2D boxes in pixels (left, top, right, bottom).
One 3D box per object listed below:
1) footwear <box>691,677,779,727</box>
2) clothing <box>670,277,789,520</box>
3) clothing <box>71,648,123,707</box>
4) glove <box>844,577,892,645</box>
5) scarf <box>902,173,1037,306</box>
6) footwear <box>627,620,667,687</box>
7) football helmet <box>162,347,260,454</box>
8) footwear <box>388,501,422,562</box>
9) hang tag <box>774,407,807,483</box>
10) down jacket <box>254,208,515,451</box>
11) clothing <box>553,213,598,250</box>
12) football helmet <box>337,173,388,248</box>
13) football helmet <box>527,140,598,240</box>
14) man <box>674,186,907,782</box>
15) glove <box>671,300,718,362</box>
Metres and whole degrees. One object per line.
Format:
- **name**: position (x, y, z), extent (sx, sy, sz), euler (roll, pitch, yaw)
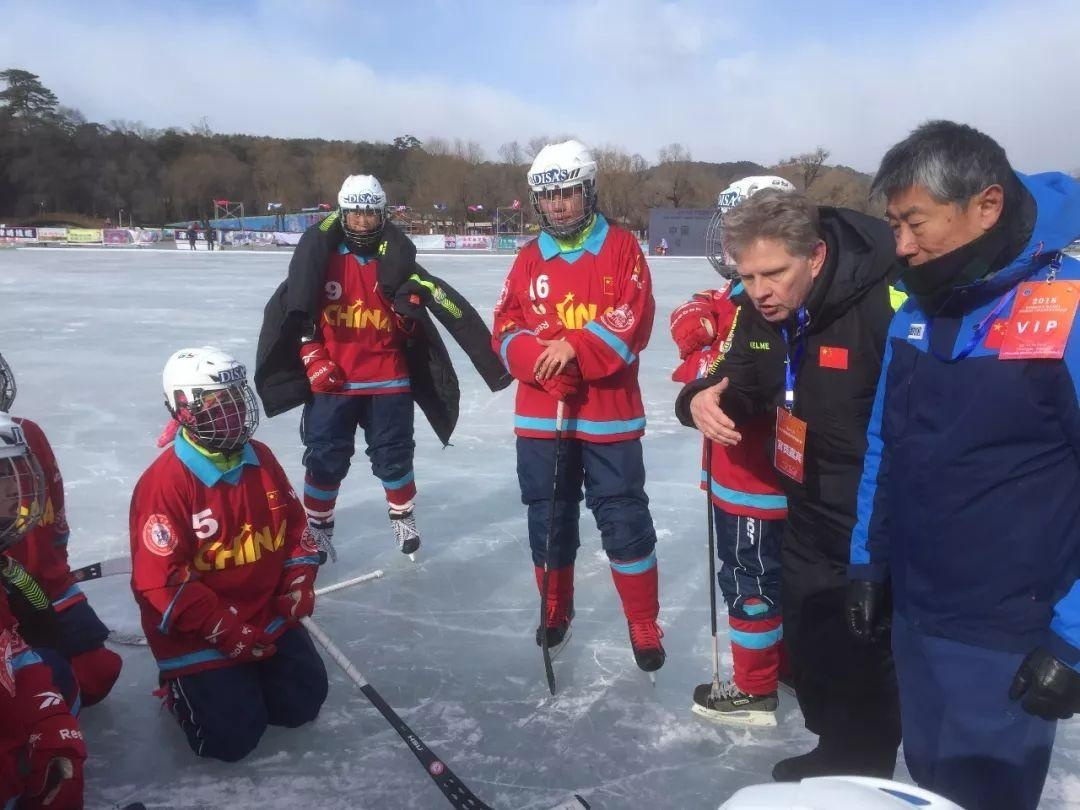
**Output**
- **footwear**: position (0.814, 1.263, 3.932), extent (0.249, 0.079, 0.198), euler (1, 3, 11)
- **clothing**: position (0.862, -0.077, 4.059), extent (0.568, 1.167, 0.561), euler (2, 3, 22)
- **clothing**: position (-1.906, 1.127, 4.021), extent (0.194, 0.255, 0.260), euler (8, 5, -15)
- **glove**: position (1.080, 0.673, 3.064), extent (0.137, 0.204, 0.073), euler (-3, 1, 12)
- **scarf**: position (1.287, -0.455, 2.814), extent (0.372, 0.221, 0.284), euler (-39, 17, 15)
- **footwear**: position (0.478, 1.119, 4.231), extent (0.109, 0.136, 0.291), euler (-5, 20, -2)
- **football helmet**: position (-1.407, -0.037, 3.944), extent (0.420, 0.437, 0.340), euler (13, 15, 38)
- **footwear**: position (-0.802, 0.758, 5.492), extent (0.115, 0.386, 0.163), euler (-10, -30, -14)
- **hang tag**: position (0.930, 0.148, 3.455), extent (0.031, 0.317, 0.227), euler (-4, 11, -17)
- **down jacket**: position (-0.928, -0.488, 5.566), extent (1.489, 1.345, 0.611), euler (0, -16, 0)
- **clothing**: position (0.166, -0.790, 4.393), extent (0.151, 0.180, 0.196), euler (-8, 31, 13)
- **football helmet**: position (-1.054, -1.164, 5.467), extent (0.280, 0.405, 0.419), euler (1, 31, -9)
- **football helmet**: position (0.102, -1.006, 4.371), extent (0.313, 0.442, 0.219), euler (-1, 12, -1)
- **man**: position (0.934, 0.340, 3.665), extent (1.017, 2.291, 0.816), euler (2, 16, 8)
- **glove**: position (0.733, -0.395, 4.409), extent (0.123, 0.203, 0.277), euler (15, 49, -12)
